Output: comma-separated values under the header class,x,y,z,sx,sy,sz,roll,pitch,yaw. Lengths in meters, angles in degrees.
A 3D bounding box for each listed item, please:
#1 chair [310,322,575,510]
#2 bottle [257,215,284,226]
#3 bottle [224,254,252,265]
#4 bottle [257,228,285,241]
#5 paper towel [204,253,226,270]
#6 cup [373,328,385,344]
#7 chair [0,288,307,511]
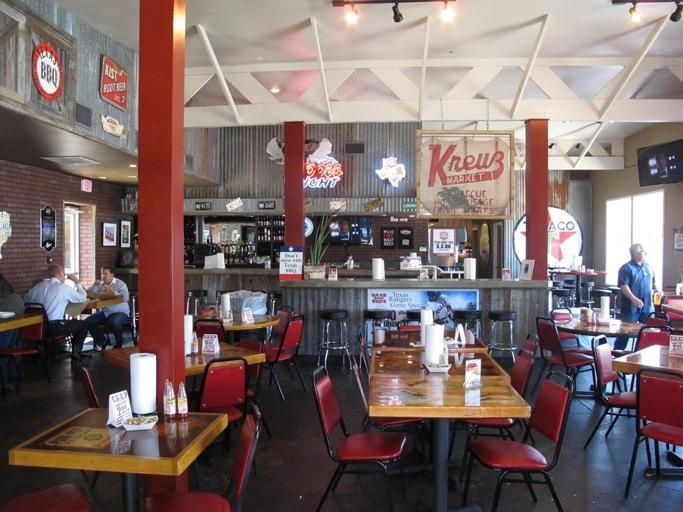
class,x,y,z,sx,sy,sz,roll,pitch,yaw
chair,1.075,1.555,5.118,1.668,1.193,1.171,-3,-1,1
bottle,-1.580,-0.765,13.011,0.599,0.184,0.213,-4,-2,15
bottle,-2.039,0.090,11.643,0.756,0.167,0.243,-4,-2,32
bottle,-1.597,-0.465,13.080,0.555,0.221,0.102,-3,-1,-3
paper towel,-2.207,0.090,10.420,0.367,0.275,0.270,4,13,18
cup,0.402,0.863,6.330,0.088,0.161,0.164,0,-5,-4
chair,-1.555,1.418,4.832,1.356,1.274,1.614,-3,-2,12
